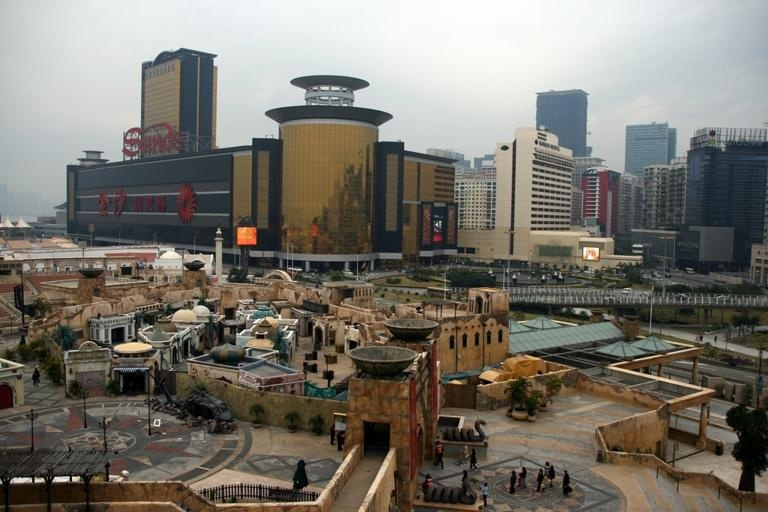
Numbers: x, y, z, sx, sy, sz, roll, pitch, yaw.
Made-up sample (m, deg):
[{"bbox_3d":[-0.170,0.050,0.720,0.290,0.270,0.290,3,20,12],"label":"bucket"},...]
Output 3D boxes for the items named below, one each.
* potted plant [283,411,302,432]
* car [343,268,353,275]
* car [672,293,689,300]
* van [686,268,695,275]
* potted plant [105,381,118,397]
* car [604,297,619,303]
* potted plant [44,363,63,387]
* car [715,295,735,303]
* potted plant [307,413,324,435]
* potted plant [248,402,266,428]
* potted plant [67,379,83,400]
[{"bbox_3d":[-10.784,18.559,84.545,2.142,2.407,2.050,-1,-3,3],"label":"potted plant"},{"bbox_3d":[-10.003,4.351,206.831,2.423,1.078,1.417,3,5,36],"label":"car"},{"bbox_3d":[64.961,8.742,161.290,3.024,0.898,3.226,-1,2,14],"label":"car"},{"bbox_3d":[100.944,5.040,242.722,2.089,1.543,3.306,0,6,-3],"label":"van"},{"bbox_3d":[-33.776,16.342,91.183,1.648,2.161,2.020,1,2,-4],"label":"potted plant"},{"bbox_3d":[49.248,9.382,159.374,2.787,0.891,4.886,0,2,16],"label":"car"},{"bbox_3d":[-41.973,14.935,94.137,1.948,2.783,0.961,-1,2,-3],"label":"potted plant"},{"bbox_3d":[75.080,9.379,162.533,2.587,0.744,2.486,-3,4,-10],"label":"car"},{"bbox_3d":[-7.511,18.938,83.733,2.237,2.511,1.897,0,-2,-6],"label":"potted plant"},{"bbox_3d":[-14.626,18.127,85.065,1.686,2.492,0.985,-1,2,15],"label":"potted plant"},{"bbox_3d":[-37.820,16.341,90.644,2.332,2.779,2.104,0,-7,-9],"label":"potted plant"}]
